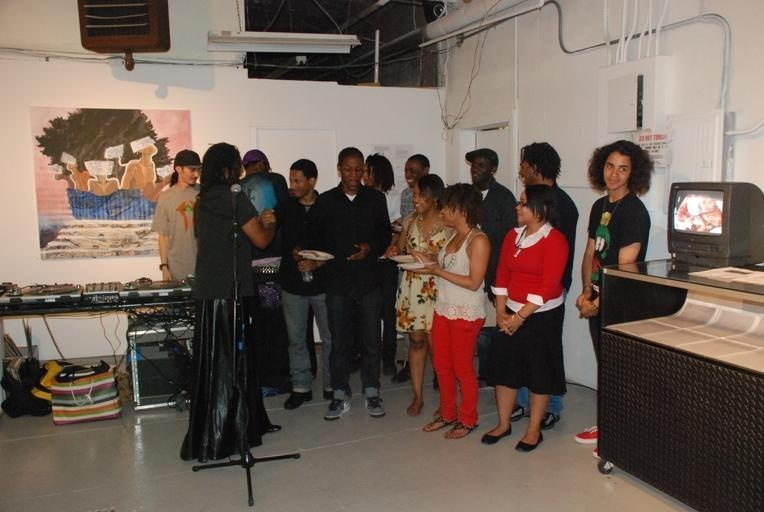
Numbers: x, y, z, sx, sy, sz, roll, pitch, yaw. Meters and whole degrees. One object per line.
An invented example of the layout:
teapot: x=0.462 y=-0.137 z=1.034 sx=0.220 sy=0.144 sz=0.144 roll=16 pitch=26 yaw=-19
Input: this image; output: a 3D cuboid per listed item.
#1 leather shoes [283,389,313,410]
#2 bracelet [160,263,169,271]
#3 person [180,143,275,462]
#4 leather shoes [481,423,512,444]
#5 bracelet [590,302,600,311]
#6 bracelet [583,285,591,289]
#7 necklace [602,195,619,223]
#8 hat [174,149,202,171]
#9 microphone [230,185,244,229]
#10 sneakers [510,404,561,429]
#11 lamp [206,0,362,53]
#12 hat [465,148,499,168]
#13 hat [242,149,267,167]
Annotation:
leather shoes: x=-0.809 y=1.388 z=5.504 sx=0.113 sy=0.140 sz=0.303 roll=1 pitch=-1 yaw=40
bracelet: x=-2.318 y=0.113 z=6.043 sx=0.108 sy=0.077 sz=0.117 roll=2 pitch=0 yaw=-3
person: x=-1.220 y=0.335 z=4.634 sx=0.789 sy=2.455 sz=0.783 roll=-2 pitch=1 yaw=-14
leather shoes: x=0.956 y=1.506 z=4.858 sx=0.294 sy=0.121 sz=0.108 roll=-2 pitch=0 yaw=-33
bracelet: x=1.664 y=0.398 z=4.458 sx=0.030 sy=0.067 sz=0.089 roll=3 pitch=3 yaw=-12
bracelet: x=1.641 y=0.258 z=4.612 sx=0.042 sy=0.040 sz=0.025 roll=6 pitch=-15 yaw=15
necklace: x=1.792 y=-0.354 z=4.558 sx=0.046 sy=0.160 sz=0.156 roll=3 pitch=12 yaw=-7
hat: x=-2.078 y=-1.035 z=6.121 sx=0.211 sy=0.155 sz=0.212 roll=-1 pitch=-1 yaw=41
microphone: x=-1.060 y=-0.369 z=4.197 sx=0.075 sy=0.313 sz=0.163 roll=-4 pitch=15 yaw=-13
sneakers: x=1.328 y=1.433 z=5.076 sx=0.463 sy=0.189 sz=0.173 roll=0 pitch=7 yaw=-7
lamp: x=-1.234 y=-2.823 z=6.974 sx=2.350 sy=0.474 sz=0.320 roll=-2 pitch=-14 yaw=-14
hat: x=1.002 y=-1.016 z=5.726 sx=0.282 sy=0.144 sz=0.213 roll=24 pitch=-4 yaw=-3
hat: x=-1.298 y=-1.032 z=5.972 sx=0.278 sy=0.152 sz=0.206 roll=-9 pitch=12 yaw=-36
